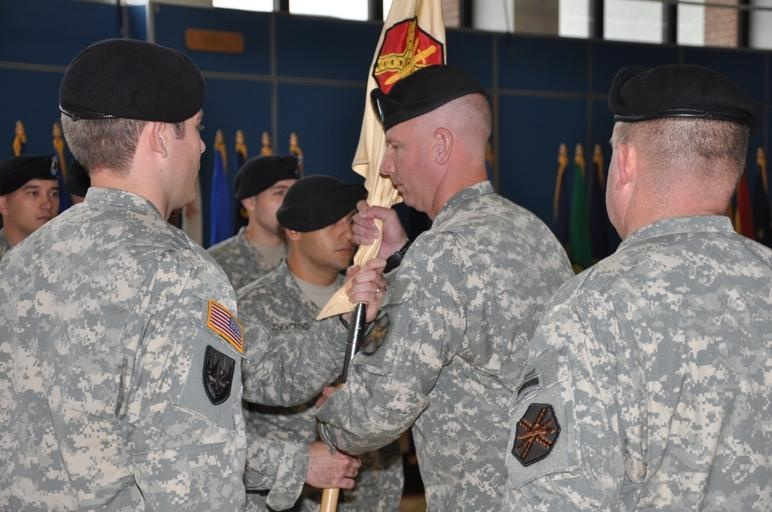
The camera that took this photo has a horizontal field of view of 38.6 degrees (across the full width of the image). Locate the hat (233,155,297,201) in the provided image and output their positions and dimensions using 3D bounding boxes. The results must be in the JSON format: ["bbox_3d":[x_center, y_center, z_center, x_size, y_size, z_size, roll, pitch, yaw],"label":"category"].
[{"bbox_3d":[-0.751,-0.492,6.755,0.462,0.223,0.322,-15,1,8],"label":"hat"}]

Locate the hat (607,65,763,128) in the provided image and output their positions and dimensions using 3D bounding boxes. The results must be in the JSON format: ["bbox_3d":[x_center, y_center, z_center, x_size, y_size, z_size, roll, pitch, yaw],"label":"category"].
[{"bbox_3d":[0.999,-0.526,3.677,0.335,0.106,0.269,5,-3,-23],"label":"hat"}]

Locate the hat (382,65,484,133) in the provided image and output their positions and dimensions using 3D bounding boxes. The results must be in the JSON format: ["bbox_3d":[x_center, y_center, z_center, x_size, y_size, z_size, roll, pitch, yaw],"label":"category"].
[{"bbox_3d":[0.177,-0.615,4.356,0.328,0.171,0.239,-38,3,11],"label":"hat"}]

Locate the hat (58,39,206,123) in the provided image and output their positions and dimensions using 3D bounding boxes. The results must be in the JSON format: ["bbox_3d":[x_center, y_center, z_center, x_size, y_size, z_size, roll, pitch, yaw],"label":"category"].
[{"bbox_3d":[-0.862,-0.611,3.867,0.363,0.131,0.327,-22,43,-37],"label":"hat"}]
